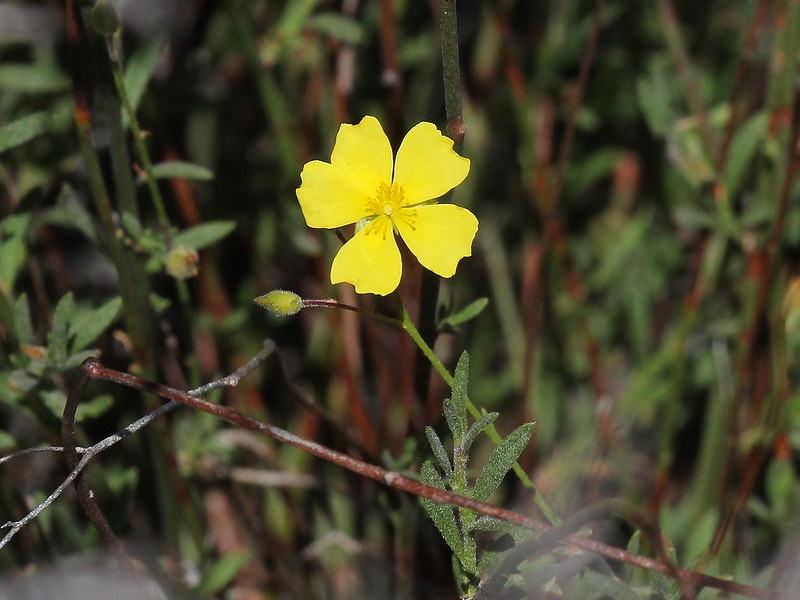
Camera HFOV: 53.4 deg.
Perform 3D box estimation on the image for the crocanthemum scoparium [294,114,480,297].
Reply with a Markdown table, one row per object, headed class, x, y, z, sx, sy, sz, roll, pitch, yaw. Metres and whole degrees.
| class | x | y | z | sx | sy | sz | roll | pitch | yaw |
| --- | --- | --- | --- | --- | --- | --- | --- | --- | --- |
| crocanthemum scoparium | -0.029 | -0.200 | 1.695 | 0.333 | 0.339 | 0.298 | -16 | 27 | -20 |
